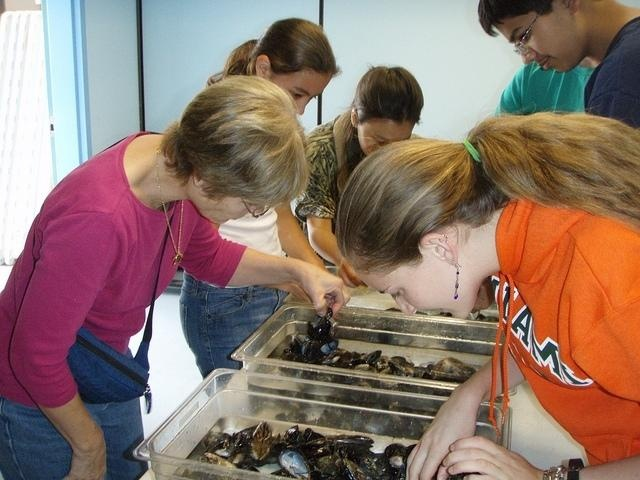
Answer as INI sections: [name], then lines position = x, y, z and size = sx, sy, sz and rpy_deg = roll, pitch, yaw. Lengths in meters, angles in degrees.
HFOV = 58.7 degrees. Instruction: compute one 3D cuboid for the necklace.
[necklace]
position = -0.543, -0.069, 2.084
size = 0.107, 0.369, 0.354
rpy_deg = 0, 43, -16
